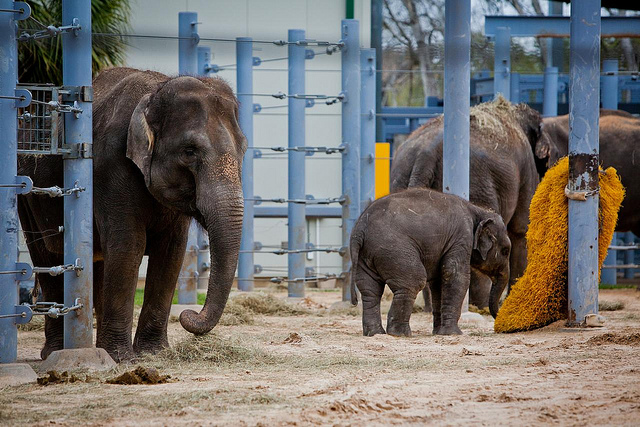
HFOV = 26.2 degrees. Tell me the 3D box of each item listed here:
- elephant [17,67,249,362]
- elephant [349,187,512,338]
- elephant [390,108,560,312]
[{"bbox_3d":[-2.182,0.050,15.545,1.563,3.185,3.790,1,-2,-44],"label":"elephant"},{"bbox_3d":[1.403,0.619,16.665,2.220,1.817,1.029,1,-1,-26],"label":"elephant"},{"bbox_3d":[2.475,-0.074,19.458,1.626,2.768,3.791,2,6,35],"label":"elephant"}]
